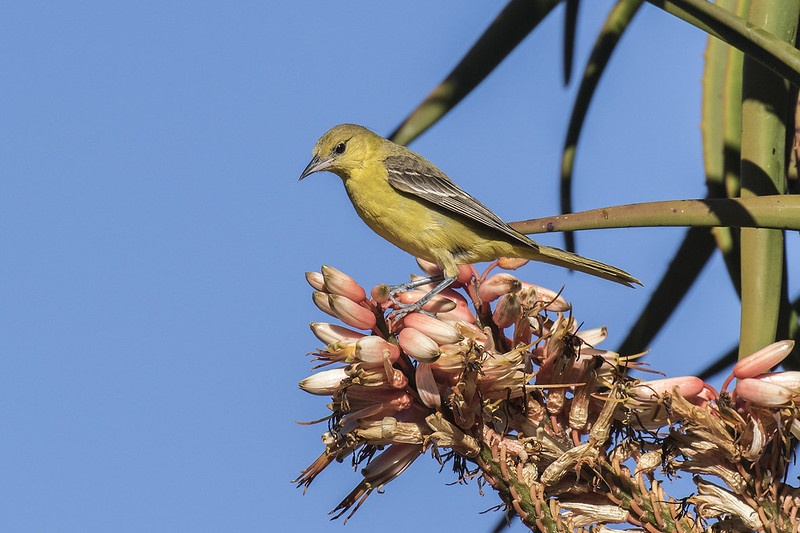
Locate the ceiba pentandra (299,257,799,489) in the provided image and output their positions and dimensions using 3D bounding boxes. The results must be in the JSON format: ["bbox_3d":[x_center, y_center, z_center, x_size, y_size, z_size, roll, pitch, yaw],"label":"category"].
[{"bbox_3d":[0.561,0.499,5.042,1.676,0.929,0.541,4,-81,-10],"label":"ceiba pentandra"}]
